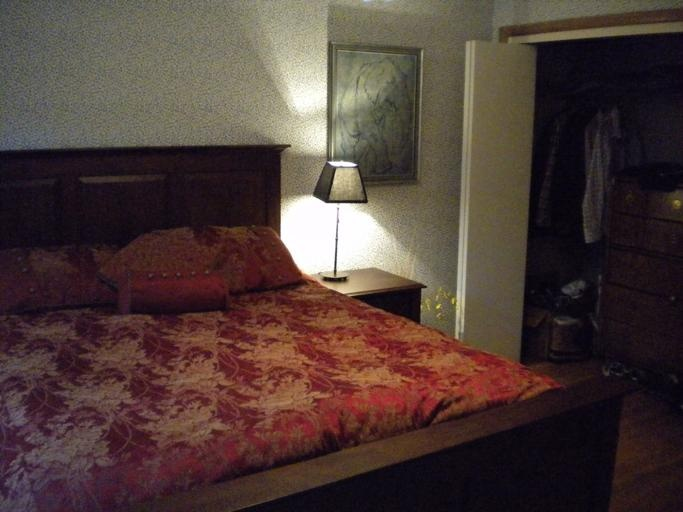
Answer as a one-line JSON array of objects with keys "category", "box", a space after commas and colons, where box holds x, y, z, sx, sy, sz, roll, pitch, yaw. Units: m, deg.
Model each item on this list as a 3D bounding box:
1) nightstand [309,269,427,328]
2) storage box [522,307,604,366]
[{"category": "nightstand", "box": [0.198, 0.204, 3.405, 0.523, 0.501, 0.391, -5, 13, -32]}, {"category": "storage box", "box": [1.693, 0.579, 4.016, 0.377, 0.382, 0.340, 4, 13, 21]}]
